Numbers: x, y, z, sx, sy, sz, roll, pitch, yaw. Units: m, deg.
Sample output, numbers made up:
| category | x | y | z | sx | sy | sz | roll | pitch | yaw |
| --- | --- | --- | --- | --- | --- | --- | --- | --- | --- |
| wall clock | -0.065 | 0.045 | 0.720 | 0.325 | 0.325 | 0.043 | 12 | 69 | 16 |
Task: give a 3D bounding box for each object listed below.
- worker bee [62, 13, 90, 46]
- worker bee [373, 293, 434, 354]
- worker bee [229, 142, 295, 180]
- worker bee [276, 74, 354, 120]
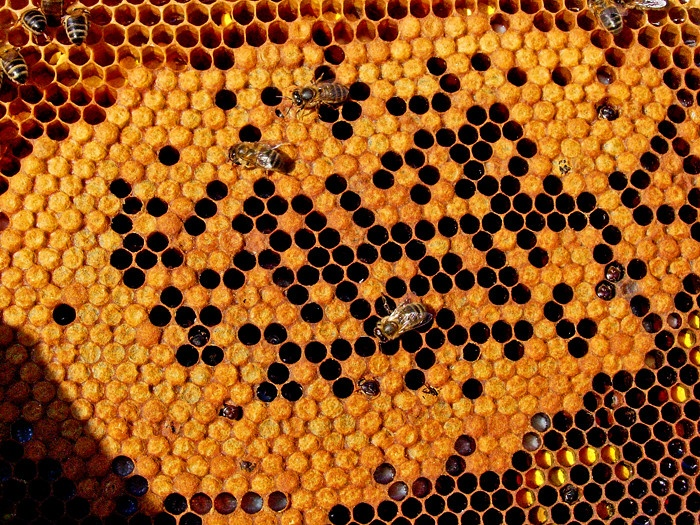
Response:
| category | x | y | z | sx | sy | sz | roll | pitch | yaw |
| --- | --- | --- | --- | --- | --- | --- | --- | --- | --- |
| worker bee | -1.208 | -1.014 | 3.702 | 0.118 | 0.103 | 0.142 | -11 | 84 | -2 |
| worker bee | 0.220 | 0.242 | 3.617 | 0.221 | 0.077 | 0.175 | -32 | 82 | -6 |
| worker bee | -0.393 | -0.433 | 3.696 | 0.296 | 0.205 | 0.103 | -2 | 79 | 34 |
| worker bee | -0.153 | -0.715 | 3.734 | 0.231 | 0.076 | 0.184 | -24 | 56 | 1 |
